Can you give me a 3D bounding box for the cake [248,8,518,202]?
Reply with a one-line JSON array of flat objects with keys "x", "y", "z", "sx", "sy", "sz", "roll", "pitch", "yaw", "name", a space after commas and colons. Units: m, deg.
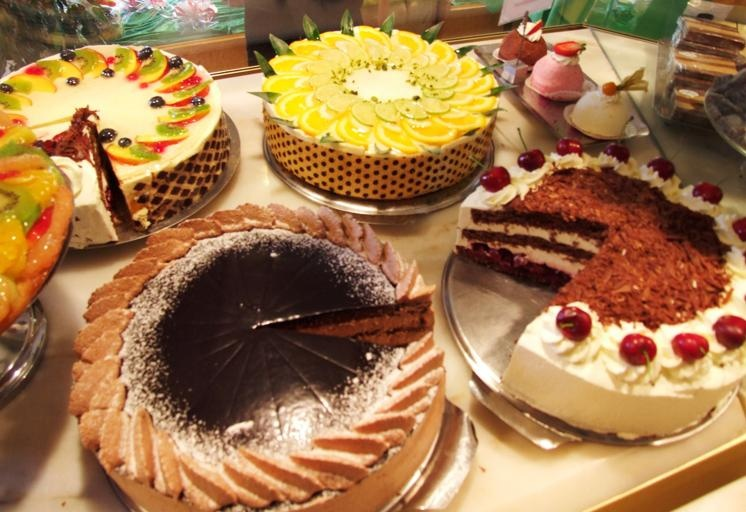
[{"x": 0.068, "y": -1.007, "z": 3.732, "sx": 1.532, "sy": 0.528, "sz": 1.514, "roll": -6, "pitch": 44, "yaw": -13, "name": "cake"}]
